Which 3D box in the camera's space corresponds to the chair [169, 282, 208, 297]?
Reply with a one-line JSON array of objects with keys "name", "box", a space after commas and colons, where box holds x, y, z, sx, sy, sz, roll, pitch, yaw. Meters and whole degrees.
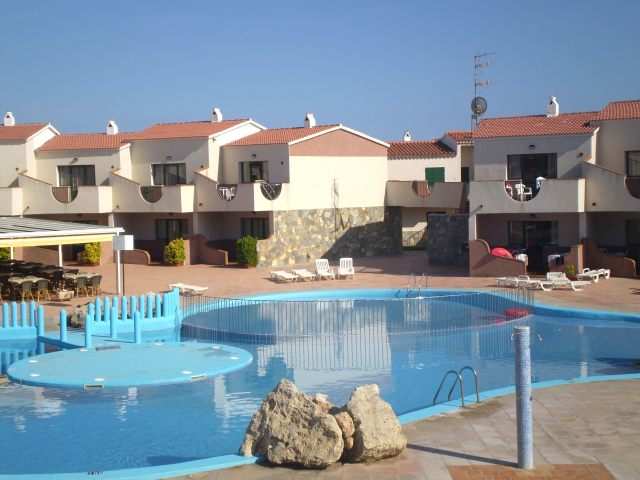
[{"name": "chair", "box": [-5.460, 2.047, 32.590, 1.199, 0.328, 0.682, 6, 5, 27]}]
